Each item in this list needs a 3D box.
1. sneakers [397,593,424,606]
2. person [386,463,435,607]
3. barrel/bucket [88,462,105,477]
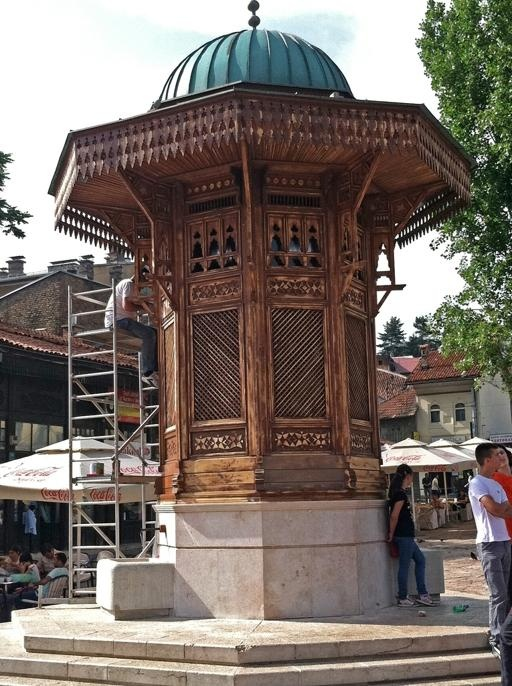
[{"bbox_3d":[1.698,2.817,9.763,0.265,0.107,0.087,-7,-12,23],"label":"sneakers"},{"bbox_3d":[1.706,2.128,10.016,0.437,1.533,0.455,-4,-12,7],"label":"person"},{"bbox_3d":[-2.289,1.821,12.899,0.212,0.184,0.203,-1,-7,0],"label":"barrel/bucket"}]
